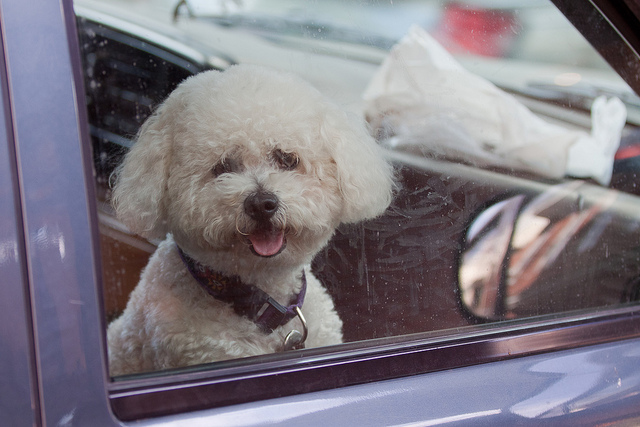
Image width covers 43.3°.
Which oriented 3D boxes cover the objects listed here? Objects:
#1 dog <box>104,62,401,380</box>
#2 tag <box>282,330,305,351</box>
[{"bbox_3d":[-0.233,0.105,2.602,0.995,1.114,0.835,6,8,28],"label":"dog"},{"bbox_3d":[-0.081,0.358,2.295,0.049,0.016,0.051,14,80,-22],"label":"tag"}]
